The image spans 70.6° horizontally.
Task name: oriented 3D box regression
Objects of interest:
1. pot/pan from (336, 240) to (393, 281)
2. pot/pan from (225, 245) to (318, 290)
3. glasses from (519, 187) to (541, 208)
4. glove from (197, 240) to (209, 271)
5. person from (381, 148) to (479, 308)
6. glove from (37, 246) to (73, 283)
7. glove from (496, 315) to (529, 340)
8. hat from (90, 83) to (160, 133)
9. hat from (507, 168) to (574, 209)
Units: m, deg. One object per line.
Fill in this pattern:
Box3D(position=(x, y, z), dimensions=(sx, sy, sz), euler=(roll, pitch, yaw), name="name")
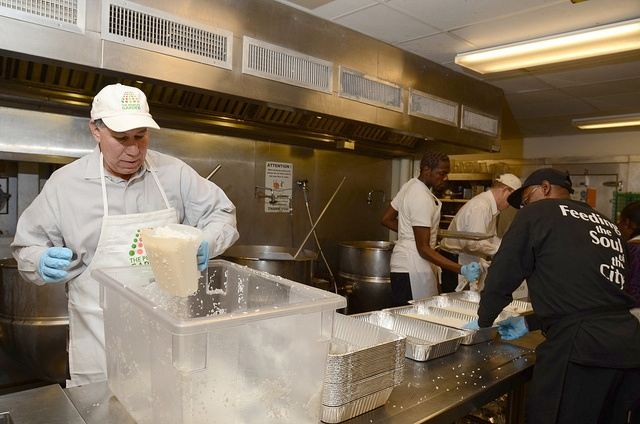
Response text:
Box3D(position=(0.426, 0.463, 4.329), dimensions=(0.404, 0.239, 0.386), euler=(2, 1, 1), name="pot/pan")
Box3D(position=(-0.359, 0.380, 3.488), dimensions=(0.464, 0.163, 0.430), euler=(5, -1, 10), name="pot/pan")
Box3D(position=(1.207, -0.108, 2.610), dimensions=(0.124, 0.122, 0.033), euler=(-13, -29, -29), name="glasses")
Box3D(position=(-0.522, 0.189, 2.014), dimensions=(0.081, 0.106, 0.067), euler=(-4, -23, -3), name="glove")
Box3D(position=(0.844, 0.187, 3.749), dimensions=(0.492, 1.397, 1.543), euler=(3, 4, 0), name="person")
Box3D(position=(-1.234, 0.242, 2.096), dimensions=(0.128, 0.157, 0.164), euler=(0, 5, -35), name="glove")
Box3D(position=(1.074, 0.644, 2.505), dimensions=(0.164, 0.125, 0.065), euler=(-17, -2, 33), name="glove")
Box3D(position=(-0.908, -0.482, 2.117), dimensions=(0.208, 0.156, 0.312), euler=(-6, 14, -44), name="hat")
Box3D(position=(1.263, -0.142, 2.622), dimensions=(0.243, 0.174, 0.339), euler=(9, -8, -44), name="hat")
